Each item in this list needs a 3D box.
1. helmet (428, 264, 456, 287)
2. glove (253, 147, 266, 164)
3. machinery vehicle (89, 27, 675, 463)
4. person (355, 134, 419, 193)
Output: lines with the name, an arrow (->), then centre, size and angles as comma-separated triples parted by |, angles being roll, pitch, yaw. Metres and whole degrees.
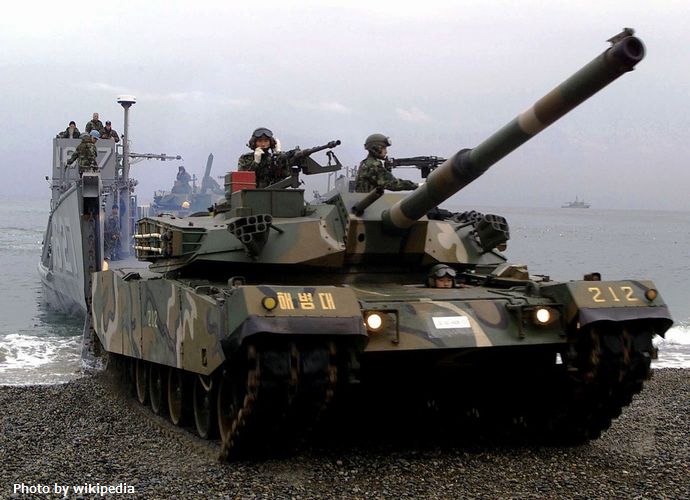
helmet -> 1.447, 0.416, 10.613 | 0.287, 0.299, 0.370 | 2, -16, -12
glove -> -1.634, -1.785, 13.361 | 0.187, 0.276, 0.096 | 9, -9, -22
machinery vehicle -> 0.131, 0.734, 11.241 | 6.247, 5.875, 8.683 | 7, 3, -7
person -> 0.649, -1.227, 12.461 | 0.940, 1.629, 1.143 | 4, 5, -7
